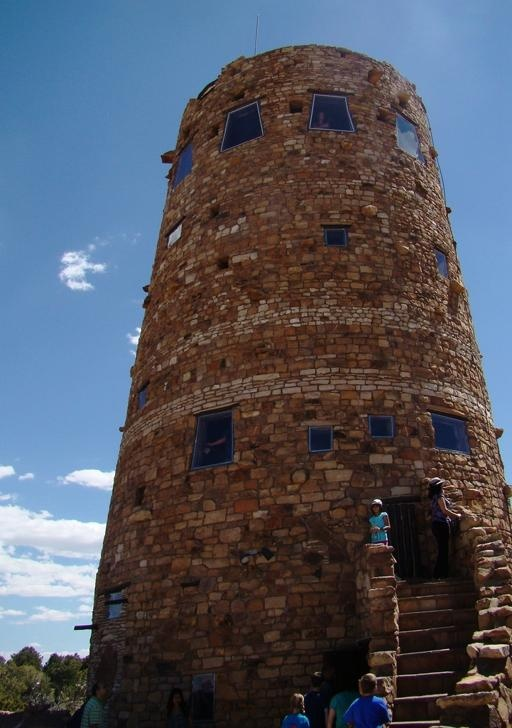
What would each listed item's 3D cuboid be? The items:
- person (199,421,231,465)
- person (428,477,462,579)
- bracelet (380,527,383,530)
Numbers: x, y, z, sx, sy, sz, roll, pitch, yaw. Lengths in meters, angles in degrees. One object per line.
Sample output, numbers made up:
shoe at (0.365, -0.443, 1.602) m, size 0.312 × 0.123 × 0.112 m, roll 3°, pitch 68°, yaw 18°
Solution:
person at (-0.733, 1.509, 11.913) m, size 0.752 × 0.841 × 0.175 m, roll -16°, pitch -27°, yaw 37°
person at (2.831, 2.398, 9.319) m, size 0.439 × 1.507 × 0.808 m, roll -5°, pitch -22°, yaw 14°
bracelet at (1.729, 2.263, 8.620) m, size 0.025 × 0.022 × 0.024 m, roll 3°, pitch -9°, yaw -9°
